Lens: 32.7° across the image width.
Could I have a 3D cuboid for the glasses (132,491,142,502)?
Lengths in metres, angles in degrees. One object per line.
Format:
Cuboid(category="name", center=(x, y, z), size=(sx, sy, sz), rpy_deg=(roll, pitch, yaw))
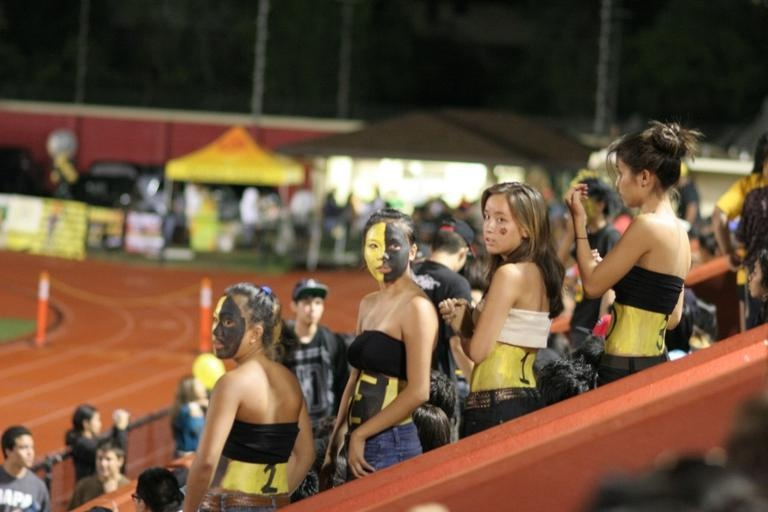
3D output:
Cuboid(category="glasses", center=(-3.383, 3.381, 18.118), size=(0.157, 0.050, 0.154), rpy_deg=(19, -6, -26))
